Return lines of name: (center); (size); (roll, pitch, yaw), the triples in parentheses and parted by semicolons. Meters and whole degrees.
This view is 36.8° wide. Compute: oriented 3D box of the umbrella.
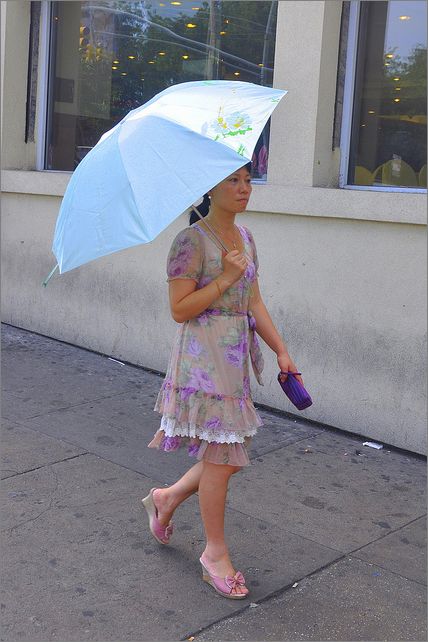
umbrella: (-0.139, -0.539, 2.266); (0.640, 0.738, 0.782); (12, 12, 32)

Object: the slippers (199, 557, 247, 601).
slippers: (0.035, 0.971, 2.445); (0.083, 0.063, 0.214); (-6, 8, -42)

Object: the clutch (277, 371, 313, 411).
clutch: (0.315, 0.274, 2.474); (0.132, 0.136, 0.144); (3, 7, -5)

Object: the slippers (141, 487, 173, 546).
slippers: (-0.245, 0.834, 2.761); (0.084, 0.249, 0.104); (-25, -3, 19)
